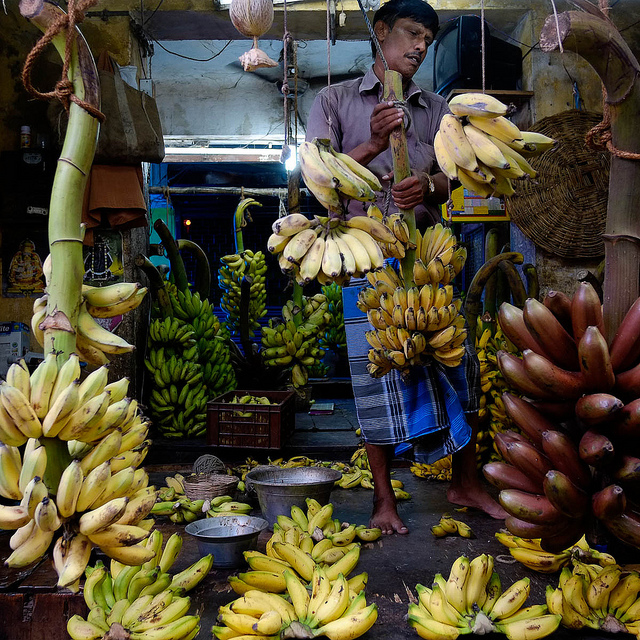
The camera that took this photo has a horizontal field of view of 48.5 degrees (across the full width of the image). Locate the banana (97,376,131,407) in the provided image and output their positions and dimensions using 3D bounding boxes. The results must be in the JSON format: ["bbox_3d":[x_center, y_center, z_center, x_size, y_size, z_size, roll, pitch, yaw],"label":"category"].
[{"bbox_3d":[-0.509,0.173,1.775,0.035,0.035,0.104,-28,5,23],"label":"banana"}]

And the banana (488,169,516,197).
[{"bbox_3d":[0.568,-0.423,2.200,0.047,0.042,0.138,20,1,29],"label":"banana"}]

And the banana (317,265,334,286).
[{"bbox_3d":[0.020,-0.141,2.266,0.040,0.053,0.014,-41,20,-3],"label":"banana"}]

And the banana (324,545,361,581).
[{"bbox_3d":[0.068,0.751,2.185,0.155,0.044,0.056,-35,58,-17],"label":"banana"}]

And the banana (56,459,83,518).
[{"bbox_3d":[-0.541,0.367,1.537,0.062,0.109,0.052,-8,5,-29],"label":"banana"}]

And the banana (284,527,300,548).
[{"bbox_3d":[-0.087,0.733,2.393,0.032,0.063,0.021,9,-38,-16],"label":"banana"}]

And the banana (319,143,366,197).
[{"bbox_3d":[0.075,-0.481,2.296,0.052,0.239,0.082,-29,-11,-11],"label":"banana"}]

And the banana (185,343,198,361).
[{"bbox_3d":[-0.858,0.218,4.731,0.032,0.131,0.048,28,-11,-14],"label":"banana"}]

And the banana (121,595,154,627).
[{"bbox_3d":[-0.497,0.782,1.899,0.100,0.028,0.045,-37,26,19],"label":"banana"}]

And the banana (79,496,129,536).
[{"bbox_3d":[-0.492,0.443,1.593,0.050,0.059,0.166,30,-52,-25],"label":"banana"}]

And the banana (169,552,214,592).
[{"bbox_3d":[-0.399,0.798,2.196,0.140,0.089,0.083,-10,5,-31],"label":"banana"}]

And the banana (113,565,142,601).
[{"bbox_3d":[-0.556,0.746,2.067,0.029,0.138,0.048,12,-27,22],"label":"banana"}]

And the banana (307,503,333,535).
[{"bbox_3d":[0.008,0.715,2.609,0.041,0.050,0.147,36,53,17],"label":"banana"}]

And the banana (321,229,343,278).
[{"bbox_3d":[0.040,-0.205,2.179,0.040,0.054,0.155,30,35,-20],"label":"banana"}]

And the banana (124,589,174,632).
[{"bbox_3d":[-0.448,0.759,1.885,0.136,0.053,0.041,-31,44,-26],"label":"banana"}]

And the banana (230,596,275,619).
[{"bbox_3d":[-0.181,0.771,1.905,0.123,0.038,0.035,-7,4,8],"label":"banana"}]

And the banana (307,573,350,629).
[{"bbox_3d":[0.038,0.782,1.920,0.051,0.072,0.201,-37,-7,-15],"label":"banana"}]

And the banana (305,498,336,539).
[{"bbox_3d":[-0.014,0.738,2.614,0.158,0.059,0.044,-24,1,-19],"label":"banana"}]

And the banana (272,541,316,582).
[{"bbox_3d":[-0.069,0.727,2.185,0.150,0.068,0.039,-9,-3,20],"label":"banana"}]

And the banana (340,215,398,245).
[{"bbox_3d":[0.165,-0.295,2.346,0.133,0.051,0.040,27,42,-7],"label":"banana"}]

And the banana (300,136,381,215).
[{"bbox_3d":[0.045,-0.448,2.294,0.115,0.310,0.193,-26,14,47],"label":"banana"}]

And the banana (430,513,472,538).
[{"bbox_3d":[0.500,0.786,2.685,0.084,0.044,0.086,-2,8,-32],"label":"banana"}]

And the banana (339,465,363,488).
[{"bbox_3d":[0.159,0.788,3.532,0.039,0.067,0.117,-7,16,35],"label":"banana"}]

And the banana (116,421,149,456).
[{"bbox_3d":[-0.479,0.299,1.816,0.032,0.027,0.099,-18,30,42],"label":"banana"}]

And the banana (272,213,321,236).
[{"bbox_3d":[-0.072,-0.309,2.228,0.071,0.054,0.202,39,29,7],"label":"banana"}]

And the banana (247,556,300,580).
[{"bbox_3d":[-0.136,0.743,2.122,0.123,0.046,0.036,20,20,-6],"label":"banana"}]

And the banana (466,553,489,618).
[{"bbox_3d":[0.432,0.719,1.958,0.040,0.182,0.057,10,-18,-2],"label":"banana"}]

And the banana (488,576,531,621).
[{"bbox_3d":[0.528,0.778,1.968,0.130,0.042,0.045,-48,5,-17],"label":"banana"}]

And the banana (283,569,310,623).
[{"bbox_3d":[-0.080,0.760,1.959,0.032,0.131,0.039,-24,-29,35],"label":"banana"}]

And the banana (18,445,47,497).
[{"bbox_3d":[-0.617,0.313,1.522,0.036,0.141,0.042,9,-8,-11],"label":"banana"}]

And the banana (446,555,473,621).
[{"bbox_3d":[0.386,0.720,1.929,0.058,0.045,0.182,-20,42,36],"label":"banana"}]
